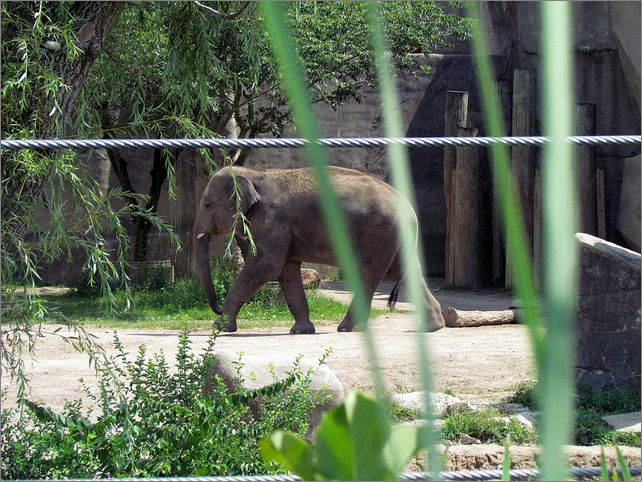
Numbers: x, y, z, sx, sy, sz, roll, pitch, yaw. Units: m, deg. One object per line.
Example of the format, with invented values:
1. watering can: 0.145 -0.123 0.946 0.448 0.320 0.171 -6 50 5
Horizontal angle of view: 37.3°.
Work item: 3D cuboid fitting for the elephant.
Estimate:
1. elephant: -0.048 0.096 8.659 2.240 1.684 0.886 1 12 10
